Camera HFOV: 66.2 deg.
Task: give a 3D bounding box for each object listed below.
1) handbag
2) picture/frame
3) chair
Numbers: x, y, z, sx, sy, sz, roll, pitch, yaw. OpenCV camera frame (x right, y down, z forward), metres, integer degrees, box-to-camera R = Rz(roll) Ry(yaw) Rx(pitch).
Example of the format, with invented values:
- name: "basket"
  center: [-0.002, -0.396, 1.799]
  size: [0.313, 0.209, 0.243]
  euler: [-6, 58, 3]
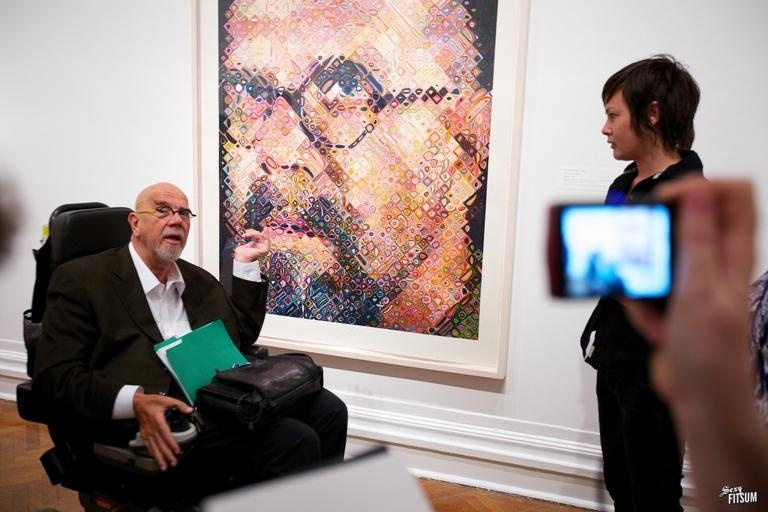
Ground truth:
- name: "handbag"
  center: [-0.466, 0.515, 2.389]
  size: [0.247, 0.142, 0.399]
  euler: [10, 14, 34]
- name: "picture/frame"
  center: [-0.028, -0.390, 3.143]
  size: [2.099, 2.307, 0.082]
  euler: [3, 7, 19]
- name: "chair"
  center: [-1.096, 0.346, 2.933]
  size: [1.275, 1.383, 1.052]
  euler: [1, 2, 32]
